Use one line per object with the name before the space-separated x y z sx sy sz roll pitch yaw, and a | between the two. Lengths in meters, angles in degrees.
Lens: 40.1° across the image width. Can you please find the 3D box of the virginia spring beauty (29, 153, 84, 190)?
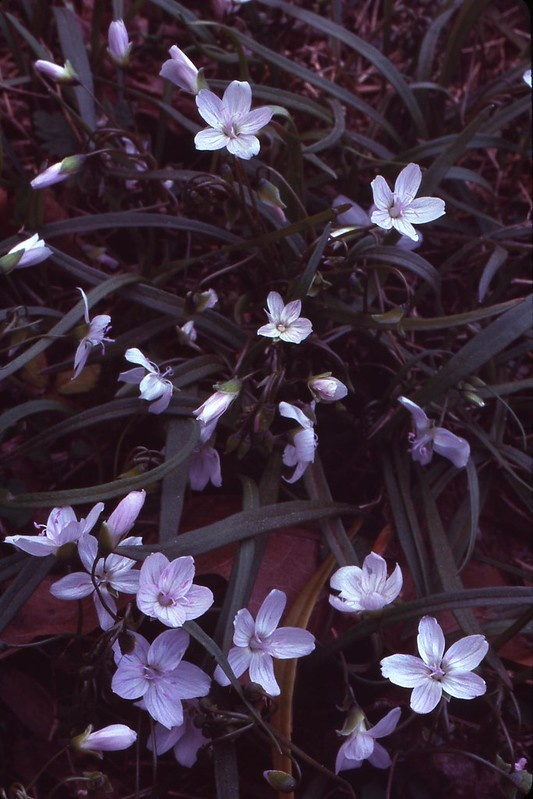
virginia spring beauty | -0.353 -0.381 1.203 0.109 0.048 0.054 -26 55 -38

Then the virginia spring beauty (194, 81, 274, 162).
virginia spring beauty | -0.059 -0.465 1.206 0.135 0.063 0.129 19 -2 -25

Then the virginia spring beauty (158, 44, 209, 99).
virginia spring beauty | -0.149 -0.573 1.262 0.074 0.089 0.162 1 42 -15

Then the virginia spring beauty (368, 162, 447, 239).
virginia spring beauty | 0.230 -0.320 1.201 0.126 0.109 0.114 13 40 -2
